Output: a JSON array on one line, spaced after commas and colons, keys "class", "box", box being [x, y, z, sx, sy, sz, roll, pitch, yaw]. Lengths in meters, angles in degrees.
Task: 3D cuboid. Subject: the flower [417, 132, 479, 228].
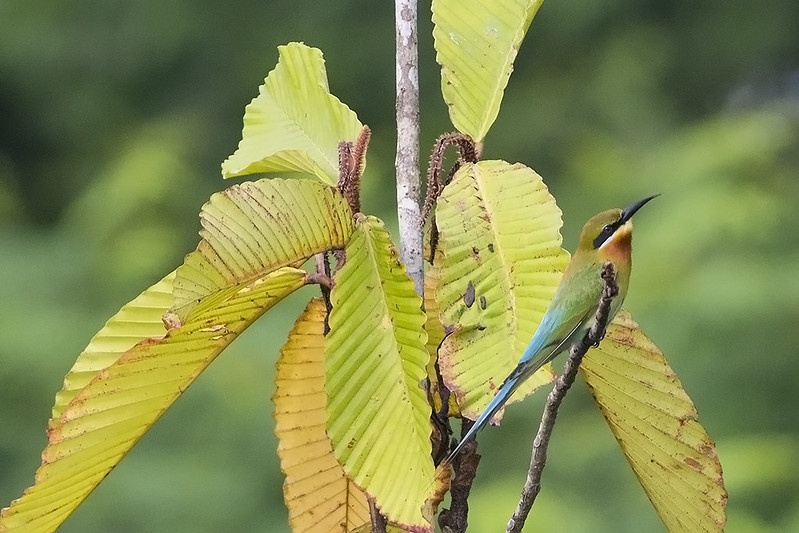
[{"class": "flower", "box": [0.131, -0.298, 3.591, 0.086, 0.298, 0.196, 15, -2, -27]}]

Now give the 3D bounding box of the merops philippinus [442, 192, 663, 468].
[{"class": "merops philippinus", "box": [0.519, 0.174, 3.517, 0.572, 0.670, 0.209, -19, -46, 30]}]
